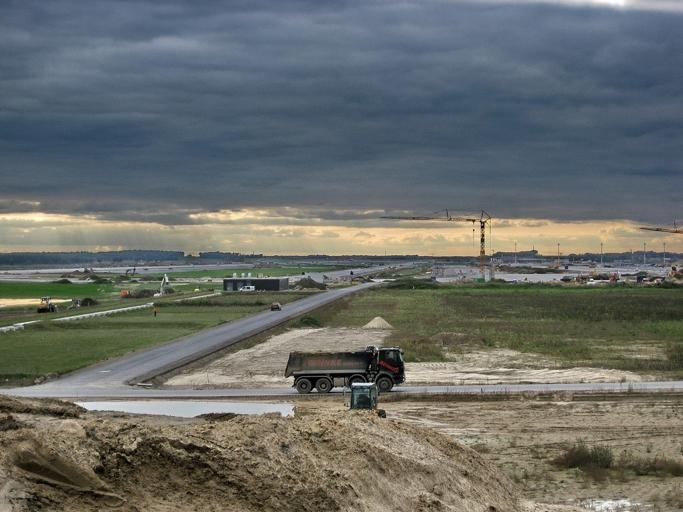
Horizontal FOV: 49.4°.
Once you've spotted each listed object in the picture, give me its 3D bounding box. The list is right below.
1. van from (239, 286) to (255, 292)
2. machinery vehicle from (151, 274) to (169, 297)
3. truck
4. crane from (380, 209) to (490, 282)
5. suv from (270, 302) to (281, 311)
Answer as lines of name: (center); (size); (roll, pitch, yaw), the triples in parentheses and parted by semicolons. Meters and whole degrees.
van: (-18.847, 6.660, 148.556); (2.645, 0.747, 1.355); (3, -2, 0)
machinery vehicle: (-34.871, 5.713, 145.959); (1.989, 3.446, 22.484); (17, 2, -11)
truck: (0.239, 7.244, 46.427); (11.227, 2.543, 3.219); (0, -1, 2)
crane: (2.001, -0.288, 14.673); (2.725, 1.343, 0.234); (2, -2, -35)
suv: (-9.069, 7.189, 103.044); (1.225, 0.545, 2.097); (-1, -8, 0)
